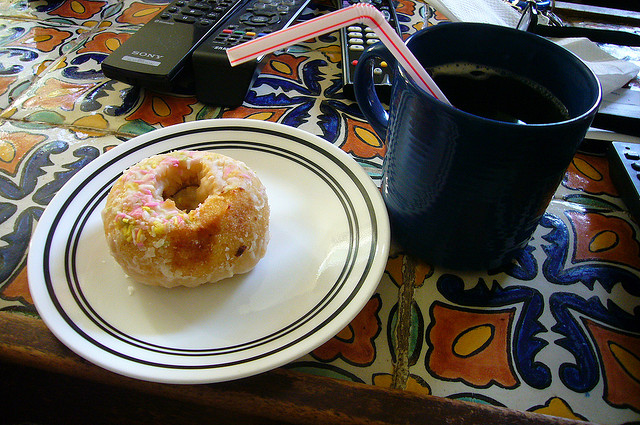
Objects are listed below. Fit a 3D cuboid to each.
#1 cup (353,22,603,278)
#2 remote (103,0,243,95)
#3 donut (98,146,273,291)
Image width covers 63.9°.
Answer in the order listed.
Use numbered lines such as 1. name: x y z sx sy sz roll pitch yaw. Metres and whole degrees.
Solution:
1. cup: 0.218 -0.095 0.709 0.271 0.216 0.334 -16 73 -10
2. remote: -0.260 -0.325 0.972 0.109 0.056 0.353 11 44 15
3. donut: -0.189 0.007 0.732 0.240 0.054 0.207 0 70 -5
